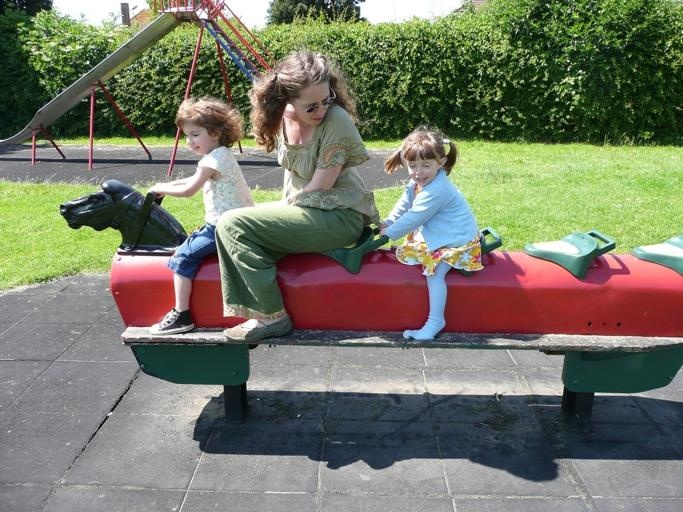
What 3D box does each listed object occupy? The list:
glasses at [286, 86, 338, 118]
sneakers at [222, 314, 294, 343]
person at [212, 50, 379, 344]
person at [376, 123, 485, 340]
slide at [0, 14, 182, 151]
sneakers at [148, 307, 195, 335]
[{"bbox_3d":[-0.210,-0.954,3.763,0.225,0.063,0.224,-29,39,-17],"label":"glasses"},{"bbox_3d":[-0.517,0.427,3.882,0.377,0.113,0.168,-4,10,-14],"label":"sneakers"},{"bbox_3d":[-0.347,-0.387,3.945,1.101,1.710,0.515,-15,25,-32],"label":"person"},{"bbox_3d":[0.533,-0.157,3.971,0.636,1.255,0.541,-18,27,-38],"label":"person"},{"bbox_3d":[-5.109,-3.671,12.903,3.907,2.370,0.811,6,23,18],"label":"slide"},{"bbox_3d":[-1.063,0.419,3.973,0.343,0.127,0.119,-1,11,-14],"label":"sneakers"}]
